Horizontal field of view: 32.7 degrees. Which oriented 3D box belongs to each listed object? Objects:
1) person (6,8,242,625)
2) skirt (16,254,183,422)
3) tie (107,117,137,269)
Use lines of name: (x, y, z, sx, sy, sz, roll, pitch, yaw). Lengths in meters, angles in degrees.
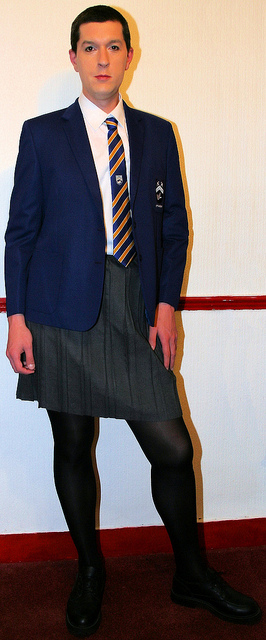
person: (-0.048, 0.069, 1.157, 0.538, 1.546, 0.413, -3, 16, -3)
skirt: (-0.088, 0.041, 1.114, 0.282, 0.492, 0.149, 0, 8, -14)
tie: (-0.030, -0.298, 1.072, 0.048, 0.336, 0.079, -3, 16, -2)
